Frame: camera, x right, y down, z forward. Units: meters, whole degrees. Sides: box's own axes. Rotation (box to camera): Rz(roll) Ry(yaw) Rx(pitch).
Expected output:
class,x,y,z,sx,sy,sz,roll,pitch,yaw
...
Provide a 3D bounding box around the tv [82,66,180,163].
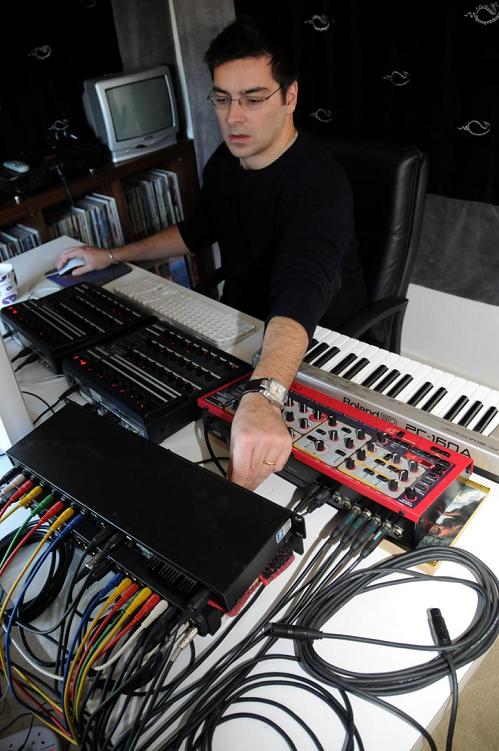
class,x,y,z,sx,sy,sz,roll,pitch,yaw
tv,-0.589,-1.276,2.677,0.239,0.349,0.424,25,46,34

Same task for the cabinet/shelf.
class,x,y,z,sx,sy,sz,roll,pitch,yaw
cabinet/shelf,-0.652,-0.685,2.341,0.735,0.682,0.256,-30,45,-26

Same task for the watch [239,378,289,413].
class,x,y,z,sx,sy,sz,roll,pitch,yaw
watch,0.034,0.029,1.086,0.084,0.083,0.052,1,63,39

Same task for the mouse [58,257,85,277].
class,x,y,z,sx,sy,sz,roll,pitch,yaw
mouse,-0.601,-0.367,1.851,0.084,0.023,0.049,-41,50,-1
